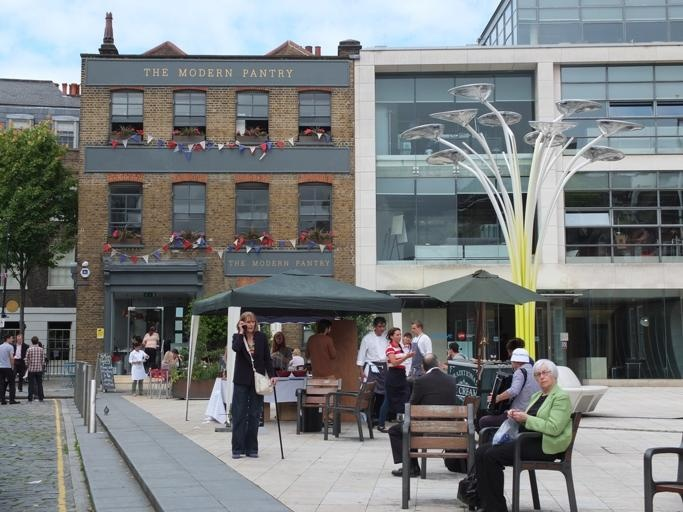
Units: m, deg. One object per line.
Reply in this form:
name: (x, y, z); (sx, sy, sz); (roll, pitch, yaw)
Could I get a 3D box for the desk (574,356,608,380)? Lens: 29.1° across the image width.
desk: (10.230, 4.593, 53.655); (1.494, 1.172, 0.917); (0, -8, 0)

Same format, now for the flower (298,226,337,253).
flower: (-1.007, -0.545, 53.479); (1.797, 0.983, 0.903); (1, -14, -5)

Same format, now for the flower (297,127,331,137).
flower: (-1.099, -5.049, 53.693); (0.659, 0.208, 0.612); (-14, 10, 21)

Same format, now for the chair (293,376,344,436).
chair: (-0.646, 4.343, 37.515); (1.445, 1.502, 1.260); (3, -3, -14)

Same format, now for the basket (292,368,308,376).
basket: (-1.242, 3.576, 39.628); (0.253, 0.270, 0.245); (2, 1, -5)

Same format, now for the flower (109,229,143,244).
flower: (-8.628, -0.756, 53.027); (1.362, 0.579, 0.823); (2, -1, -14)

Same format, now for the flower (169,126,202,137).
flower: (-6.233, -5.033, 53.566); (1.287, 0.435, 0.210); (-2, -4, -1)

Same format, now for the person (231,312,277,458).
person: (-2.262, 3.408, 34.438); (1.483, 3.716, 1.064); (1, -6, -12)

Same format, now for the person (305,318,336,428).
person: (-0.422, 3.278, 38.767); (1.107, 2.596, 0.896); (-5, 5, 27)

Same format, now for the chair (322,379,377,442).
chair: (0.199, 4.513, 37.789); (1.479, 1.572, 2.796); (-2, -4, -1)
